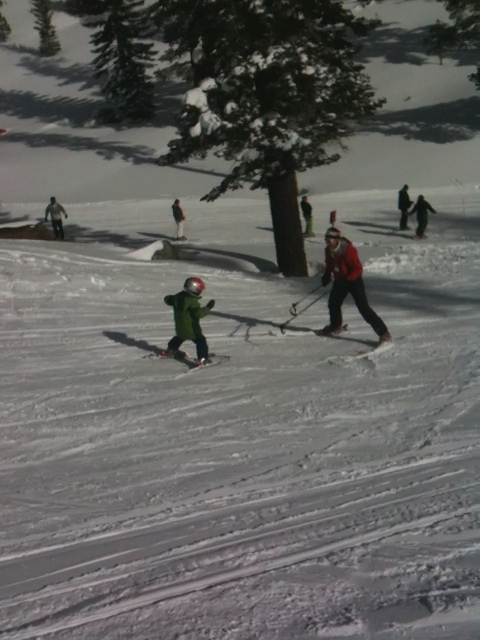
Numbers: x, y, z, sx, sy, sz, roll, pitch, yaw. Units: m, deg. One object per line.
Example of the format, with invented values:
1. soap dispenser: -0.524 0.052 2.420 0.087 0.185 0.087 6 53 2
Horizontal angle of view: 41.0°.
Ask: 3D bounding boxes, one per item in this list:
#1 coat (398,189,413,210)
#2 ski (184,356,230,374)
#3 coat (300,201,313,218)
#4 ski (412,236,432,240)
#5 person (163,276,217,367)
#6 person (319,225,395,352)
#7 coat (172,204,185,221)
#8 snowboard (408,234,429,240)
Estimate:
1. coat: 5.094 -3.714 19.877 0.366 0.609 0.571 -5 9 14
2. ski: -0.381 0.573 8.039 0.533 0.063 0.184 -12 14 -33
3. coat: 1.999 -3.312 19.294 0.289 0.483 0.445 -7 9 2
4. ski: 5.390 -2.394 18.845 0.644 0.046 0.230 -8 9 -18
5. person: -0.625 0.028 7.968 0.666 1.123 1.218 -9 9 -7
6. person: 1.424 -0.426 8.382 0.670 1.570 1.052 -12 11 -23
7. coat: -1.809 -3.098 18.646 0.265 0.470 0.323 -8 10 -5
8. snowboard: 5.248 -2.406 18.836 0.582 0.209 0.168 9 17 13
